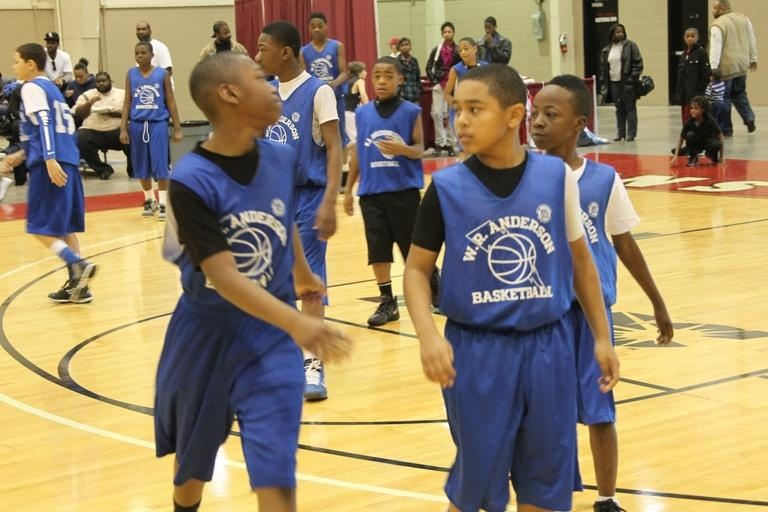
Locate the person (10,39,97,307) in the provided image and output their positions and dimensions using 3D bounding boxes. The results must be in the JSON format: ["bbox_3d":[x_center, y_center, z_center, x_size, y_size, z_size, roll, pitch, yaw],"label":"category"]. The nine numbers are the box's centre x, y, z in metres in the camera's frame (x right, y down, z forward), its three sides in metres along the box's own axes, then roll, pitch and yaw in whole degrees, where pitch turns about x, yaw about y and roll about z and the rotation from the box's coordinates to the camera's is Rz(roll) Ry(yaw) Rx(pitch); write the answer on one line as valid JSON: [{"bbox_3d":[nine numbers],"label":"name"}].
[{"bbox_3d":[-3.076,-0.751,6.507,0.638,2.407,0.656,-5,8,-21],"label":"person"}]
